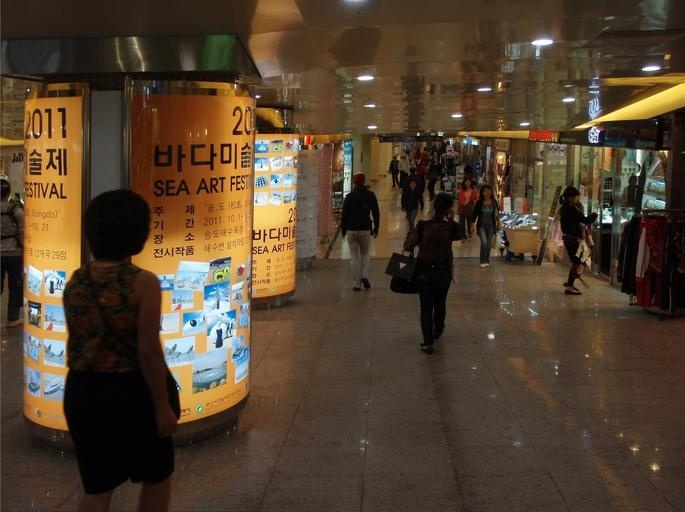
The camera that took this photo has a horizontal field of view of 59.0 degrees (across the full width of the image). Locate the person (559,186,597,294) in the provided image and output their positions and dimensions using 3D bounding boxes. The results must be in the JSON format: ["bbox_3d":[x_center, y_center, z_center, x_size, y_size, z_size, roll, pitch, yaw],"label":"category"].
[{"bbox_3d":[4.370,-0.297,11.454,0.491,2.014,0.507,5,8,30],"label":"person"}]

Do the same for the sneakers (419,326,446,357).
[{"bbox_3d":[1.173,1.126,7.934,0.158,0.212,0.509,4,15,9],"label":"sneakers"}]

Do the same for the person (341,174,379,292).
[{"bbox_3d":[0.350,-0.462,11.500,0.628,2.196,1.025,1,7,5],"label":"person"}]

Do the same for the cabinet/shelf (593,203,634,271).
[{"bbox_3d":[5.757,-0.340,13.090,0.482,1.574,1.331,2,8,15],"label":"cabinet/shelf"}]

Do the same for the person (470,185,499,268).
[{"bbox_3d":[3.463,-0.769,14.688,0.574,1.931,1.192,2,8,13],"label":"person"}]

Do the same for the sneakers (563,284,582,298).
[{"bbox_3d":[4.397,0.674,11.534,0.345,0.140,0.178,9,-3,-14],"label":"sneakers"}]

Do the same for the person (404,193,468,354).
[{"bbox_3d":[1.180,0.180,7.973,0.676,2.004,0.900,2,7,14],"label":"person"}]

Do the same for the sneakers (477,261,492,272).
[{"bbox_3d":[3.355,0.236,14.257,0.193,0.162,0.385,0,8,10],"label":"sneakers"}]

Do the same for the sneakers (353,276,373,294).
[{"bbox_3d":[0.389,0.555,11.503,0.216,0.246,0.586,0,-9,6],"label":"sneakers"}]
